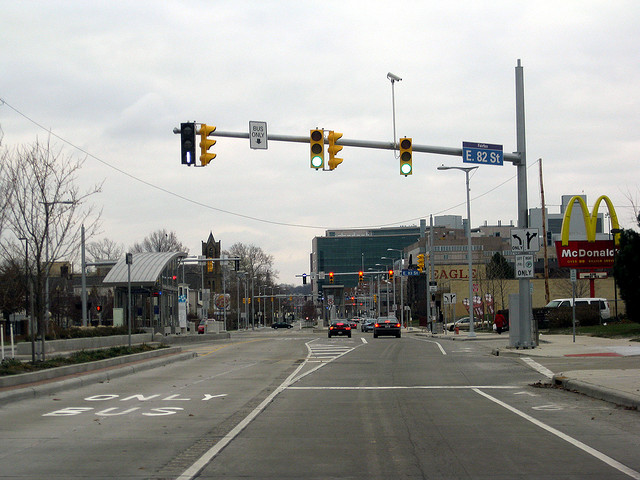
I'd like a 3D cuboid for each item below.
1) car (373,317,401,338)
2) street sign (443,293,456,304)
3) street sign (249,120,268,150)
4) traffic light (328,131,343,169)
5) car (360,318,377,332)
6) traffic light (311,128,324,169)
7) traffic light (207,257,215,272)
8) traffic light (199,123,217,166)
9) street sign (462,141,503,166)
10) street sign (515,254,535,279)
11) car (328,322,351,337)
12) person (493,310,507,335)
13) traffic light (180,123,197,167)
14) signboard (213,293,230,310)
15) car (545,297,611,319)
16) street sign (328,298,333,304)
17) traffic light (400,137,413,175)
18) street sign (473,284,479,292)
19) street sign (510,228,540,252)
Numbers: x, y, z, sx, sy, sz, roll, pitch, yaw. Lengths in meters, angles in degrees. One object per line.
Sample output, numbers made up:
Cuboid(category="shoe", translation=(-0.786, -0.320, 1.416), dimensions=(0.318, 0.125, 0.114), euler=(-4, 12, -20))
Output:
Cuboid(category="car", translation=(4.653, 6.107, 58.235), dimensions=(1.784, 1.388, 2.608), euler=(-4, -8, 1))
Cuboid(category="street sign", translation=(9.333, 4.191, 59.768), dimensions=(0.699, 0.658, 1.328), euler=(-6, -8, 22))
Cuboid(category="street sign", translation=(-2.060, -3.574, 27.494), dimensions=(0.586, 0.945, 0.920), euler=(-3, -7, -6))
Cuboid(category="traffic light", translation=(0.517, -3.167, 28.308), dimensions=(0.448, 1.250, 0.750), euler=(-3, -7, -3))
Cuboid(category="car", translation=(4.980, 8.924, 86.699), dimensions=(1.070, 0.862, 2.513), euler=(0, 1, 1))
Cuboid(category="traffic light", translation=(-0.124, -3.090, 28.011), dimensions=(0.425, 1.325, 0.245), euler=(-3, -6, -3))
Cuboid(category="traffic light", translation=(-7.842, 1.836, 58.787), dimensions=(0.679, 1.395, 0.714), euler=(0, 5, -6))
Cuboid(category="traffic light", translation=(-3.804, -3.245, 27.521), dimensions=(0.547, 1.499, 0.327), euler=(-7, 34, -16))
Cuboid(category="street sign", translation=(6.116, -3.285, 31.140), dimensions=(0.534, 0.856, 2.157), euler=(-9, -10, 42))
Cuboid(category="street sign", translation=(8.316, 1.041, 33.721), dimensions=(0.707, 0.961, 1.044), euler=(-5, -8, 15))
Cuboid(category="car", translation=(1.430, 6.669, 61.585), dimensions=(1.151, 0.892, 2.562), euler=(0, -1, 1))
Cuboid(category="person", translation=(12.382, 5.697, 56.894), dimensions=(0.653, 1.577, 2.873), euler=(-4, -8, 12))
Cuboid(category="traffic light", translation=(-4.281, -3.168, 26.863), dimensions=(0.512, 1.479, 0.931), euler=(-2, -7, -10))
Cuboid(category="signboard", translation=(-13.231, 8.309, 111.551), dimensions=(2.914, 2.966, 0.411), euler=(1, -8, -14))
Cuboid(category="car", translation=(18.338, 4.502, 57.535), dimensions=(2.781, 1.521, 1.836), euler=(0, -4, 8))
Cuboid(category="street sign", translation=(1.578, 9.772, 131.671), dimensions=(1.018, 0.605, 1.159), euler=(0, -3, 1))
Cuboid(category="traffic light", translation=(3.003, -2.928, 28.866), dimensions=(0.449, 1.667, 0.385), euler=(-4, -28, 12))
Cuboid(category="street sign", translation=(11.900, 3.656, 63.535), dimensions=(0.138, 0.790, 0.856), euler=(-5, -3, 33))
Cuboid(category="street sign", translation=(8.214, -0.027, 33.185), dimensions=(0.870, 0.816, 0.126), euler=(-1, -1, 3))
